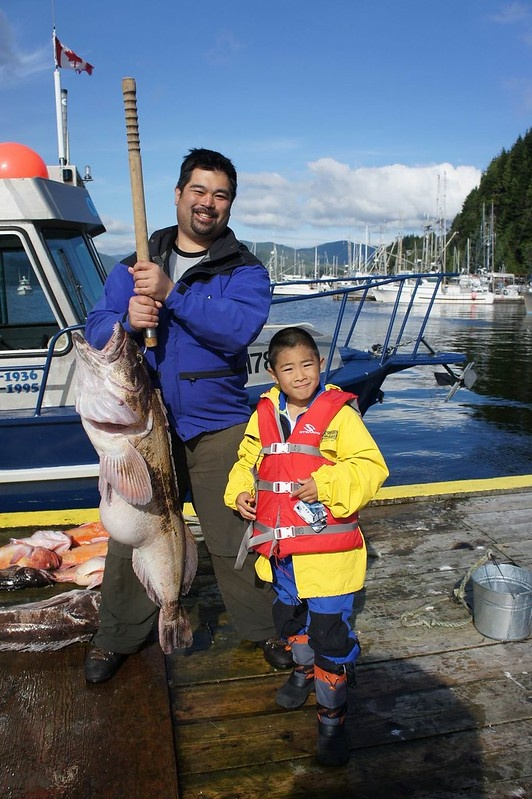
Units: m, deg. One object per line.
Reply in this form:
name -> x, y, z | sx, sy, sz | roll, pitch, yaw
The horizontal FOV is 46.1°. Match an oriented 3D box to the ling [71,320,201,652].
ling -> -0.394, 0.322, 2.013 | 0.415, 1.137, 0.258 | -5, 13, -25
